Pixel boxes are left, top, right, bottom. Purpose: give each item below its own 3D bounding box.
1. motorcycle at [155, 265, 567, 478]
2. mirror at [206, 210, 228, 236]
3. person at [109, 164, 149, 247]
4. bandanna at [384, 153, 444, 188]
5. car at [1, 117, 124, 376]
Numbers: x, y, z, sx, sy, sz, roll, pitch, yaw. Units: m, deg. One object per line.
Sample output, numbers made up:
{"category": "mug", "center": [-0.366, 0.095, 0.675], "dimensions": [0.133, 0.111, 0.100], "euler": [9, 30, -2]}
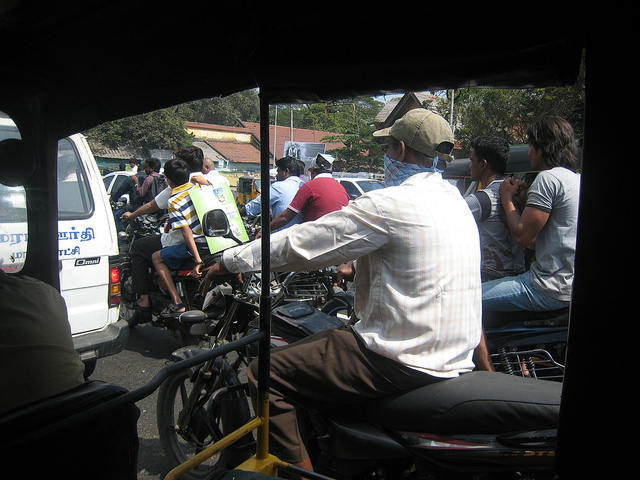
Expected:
{"category": "motorcycle", "center": [0.265, 0.665, 2.550], "dimensions": [1.727, 1.071, 0.854], "euler": [9, 16, 22]}
{"category": "mirror", "center": [-0.828, -0.135, 4.152], "dimensions": [0.200, 0.202, 0.033], "euler": [-8, 9, -44]}
{"category": "person", "center": [-3.238, -0.627, 8.888], "dimensions": [0.880, 1.036, 1.727], "euler": [-2, 18, -17]}
{"category": "bandanna", "center": [0.492, -0.339, 2.681], "dimensions": [0.320, 0.177, 0.316], "euler": [2, 8, -2]}
{"category": "car", "center": [-1.535, 0.035, 3.096], "dimensions": [0.734, 0.983, 1.827], "euler": [-7, 13, -32]}
